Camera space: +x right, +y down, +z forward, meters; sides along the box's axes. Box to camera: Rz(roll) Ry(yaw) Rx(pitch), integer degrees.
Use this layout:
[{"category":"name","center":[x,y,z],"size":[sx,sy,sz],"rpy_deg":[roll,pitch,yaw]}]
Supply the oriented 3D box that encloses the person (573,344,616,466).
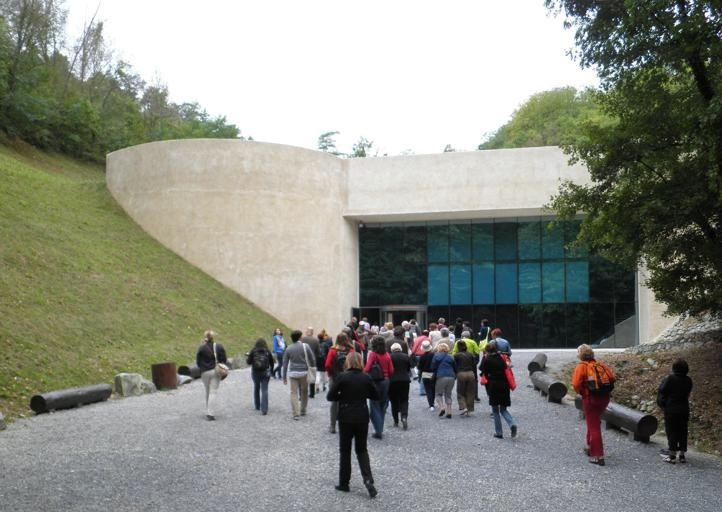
[{"category":"person","center":[5.623,3.514,16.466],"size":[0.913,2.712,1.451],"rpy_deg":[2,4,20]}]

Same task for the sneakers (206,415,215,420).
[{"category":"sneakers","center":[-4.193,4.552,19.092],"size":[0.194,0.141,0.160],"rpy_deg":[0,3,-14]}]

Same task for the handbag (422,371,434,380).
[{"category":"handbag","center":[2.023,3.677,20.637],"size":[0.392,0.279,0.230],"rpy_deg":[-1,-34,7]}]

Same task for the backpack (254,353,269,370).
[{"category":"backpack","center":[-2.841,3.060,19.697],"size":[0.360,0.468,0.424],"rpy_deg":[1,6,4]}]

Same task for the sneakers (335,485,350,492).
[{"category":"sneakers","center":[-0.380,4.920,14.390],"size":[0.272,0.125,0.121],"rpy_deg":[11,1,28]}]

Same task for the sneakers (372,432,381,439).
[{"category":"sneakers","center":[0.429,4.649,17.552],"size":[0.265,0.199,0.100],"rpy_deg":[12,6,30]}]

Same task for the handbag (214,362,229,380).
[{"category":"handbag","center":[-3.987,3.351,19.597],"size":[0.340,0.548,1.074],"rpy_deg":[0,3,-8]}]

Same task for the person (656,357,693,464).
[{"category":"person","center":[7.603,3.770,16.504],"size":[0.773,2.460,0.489],"rpy_deg":[-1,4,-20]}]

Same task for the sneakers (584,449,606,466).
[{"category":"sneakers","center":[5.520,4.775,16.083],"size":[0.182,0.246,0.553],"rpy_deg":[-2,14,-8]}]

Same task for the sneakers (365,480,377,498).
[{"category":"sneakers","center":[0.204,4.874,14.150],"size":[0.102,0.294,0.205],"rpy_deg":[-27,12,-17]}]

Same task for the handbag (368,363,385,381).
[{"category":"handbag","center":[0.393,2.989,17.322],"size":[0.493,0.511,0.284],"rpy_deg":[-1,3,17]}]

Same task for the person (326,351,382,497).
[{"category":"person","center":[-0.127,3.575,14.498],"size":[0.915,2.870,1.206],"rpy_deg":[-1,4,-18]}]
